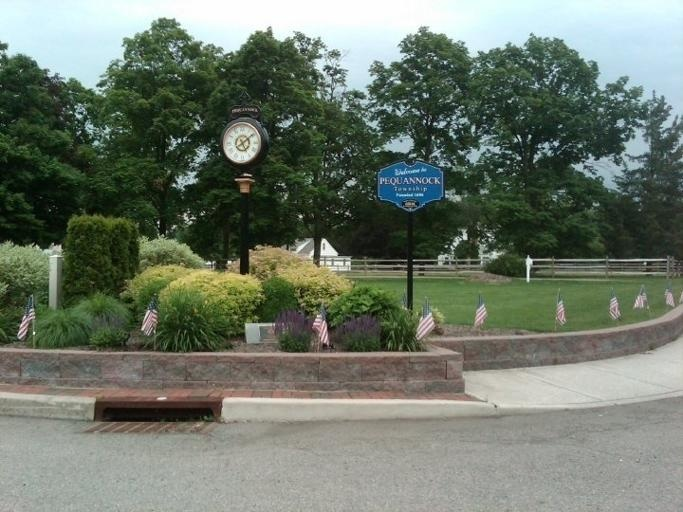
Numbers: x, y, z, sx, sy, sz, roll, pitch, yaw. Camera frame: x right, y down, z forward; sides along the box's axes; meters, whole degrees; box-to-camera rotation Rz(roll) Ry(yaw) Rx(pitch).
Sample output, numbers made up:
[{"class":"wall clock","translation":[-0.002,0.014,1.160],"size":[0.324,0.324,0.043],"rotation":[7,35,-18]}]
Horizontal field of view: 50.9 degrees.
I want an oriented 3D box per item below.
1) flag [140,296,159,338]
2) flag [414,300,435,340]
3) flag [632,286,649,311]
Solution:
[{"class":"flag","translation":[-3.696,1.159,13.838],"size":[0.270,0.784,0.840],"rotation":[2,-3,-14]},{"class":"flag","translation":[1.604,1.286,14.231],"size":[0.328,0.752,0.398],"rotation":[1,-3,5]},{"class":"flag","translation":[9.768,1.402,23.781],"size":[0.078,0.752,0.863],"rotation":[-15,9,-24]}]
